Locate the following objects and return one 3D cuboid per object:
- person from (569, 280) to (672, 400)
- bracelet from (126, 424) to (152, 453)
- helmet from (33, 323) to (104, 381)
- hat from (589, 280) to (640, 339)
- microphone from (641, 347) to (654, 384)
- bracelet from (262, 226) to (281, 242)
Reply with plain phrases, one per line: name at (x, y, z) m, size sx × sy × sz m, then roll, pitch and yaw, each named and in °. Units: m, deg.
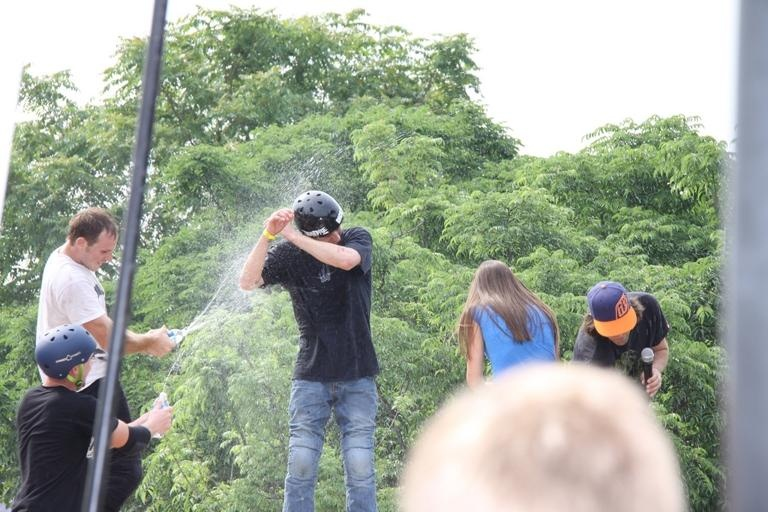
person at (2.658, 0.841, 8.971) m, size 1.089 × 1.465 × 0.749 m, roll -4°, pitch -8°, yaw 13°
bracelet at (-2.307, 1.709, 7.693) m, size 0.212 × 0.214 × 0.152 m, roll 33°, pitch -1°, yaw -1°
helmet at (-2.873, 0.883, 7.477) m, size 0.541 × 0.441 × 0.395 m, roll 8°, pitch 7°, yaw -11°
hat at (2.444, 0.636, 8.621) m, size 0.418 × 0.631 × 0.273 m, roll -23°, pitch -41°, yaw 10°
microphone at (2.805, 1.163, 8.621) m, size 0.129 × 0.104 × 0.450 m, roll -1°, pitch -29°, yaw 13°
bracelet at (-1.111, -0.211, 8.026) m, size 0.130 × 0.052 × 0.127 m, roll 49°, pitch -35°, yaw -18°
